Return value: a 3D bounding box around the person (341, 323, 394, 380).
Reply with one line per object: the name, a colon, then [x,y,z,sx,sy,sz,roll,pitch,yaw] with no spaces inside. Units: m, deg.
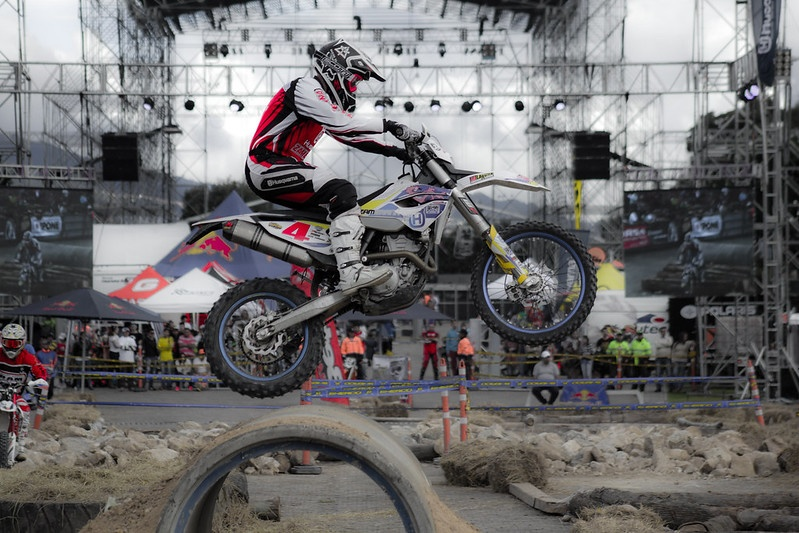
person: [-1.074,2.804,43.425,1.455,3.022,0.980,1,-35,-12]
